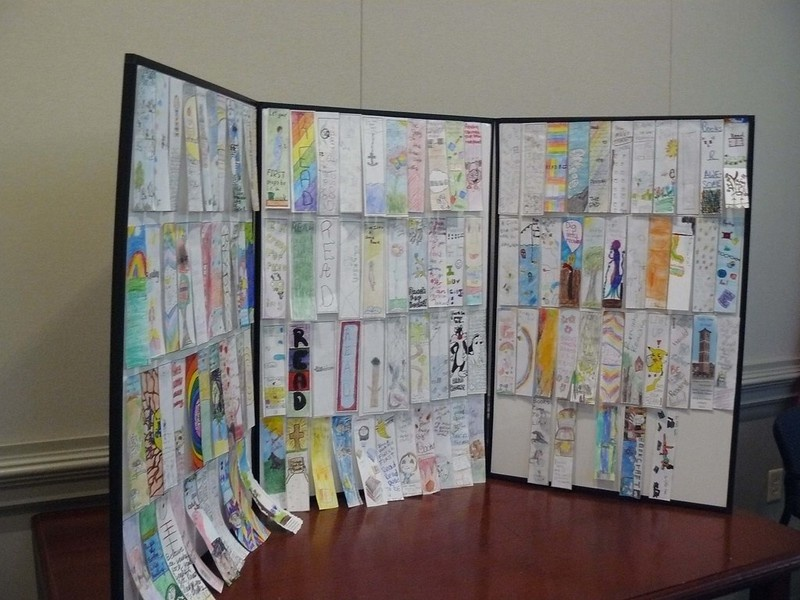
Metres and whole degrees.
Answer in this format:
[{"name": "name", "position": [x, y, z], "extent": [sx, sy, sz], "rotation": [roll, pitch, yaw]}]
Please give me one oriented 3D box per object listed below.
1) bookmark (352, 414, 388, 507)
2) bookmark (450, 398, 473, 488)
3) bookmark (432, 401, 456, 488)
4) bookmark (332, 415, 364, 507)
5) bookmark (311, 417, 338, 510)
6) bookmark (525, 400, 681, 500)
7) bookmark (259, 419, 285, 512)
[{"name": "bookmark", "position": [-0.082, 0.486, 2.137], "extent": [0.099, 0.374, 0.049], "rotation": [-8, 34, -6]}, {"name": "bookmark", "position": [0.201, 0.469, 2.259], "extent": [0.085, 0.293, 0.012], "rotation": [-12, -22, 35]}, {"name": "bookmark", "position": [0.131, 0.487, 2.251], "extent": [0.075, 0.404, 0.005], "rotation": [1, 26, -1]}, {"name": "bookmark", "position": [-0.166, 0.498, 2.131], "extent": [0.061, 0.284, 0.012], "rotation": [-8, 4, 4]}, {"name": "bookmark", "position": [-0.234, 0.504, 2.106], "extent": [0.076, 0.273, 0.055], "rotation": [-2, 8, -10]}, {"name": "bookmark", "position": [0.643, 0.480, 2.191], "extent": [0.453, 0.291, 0.045], "rotation": [1, 8, 13]}, {"name": "bookmark", "position": [-0.375, 0.486, 2.084], "extent": [0.065, 0.294, 0.025], "rotation": [-5, 11, -16]}]
